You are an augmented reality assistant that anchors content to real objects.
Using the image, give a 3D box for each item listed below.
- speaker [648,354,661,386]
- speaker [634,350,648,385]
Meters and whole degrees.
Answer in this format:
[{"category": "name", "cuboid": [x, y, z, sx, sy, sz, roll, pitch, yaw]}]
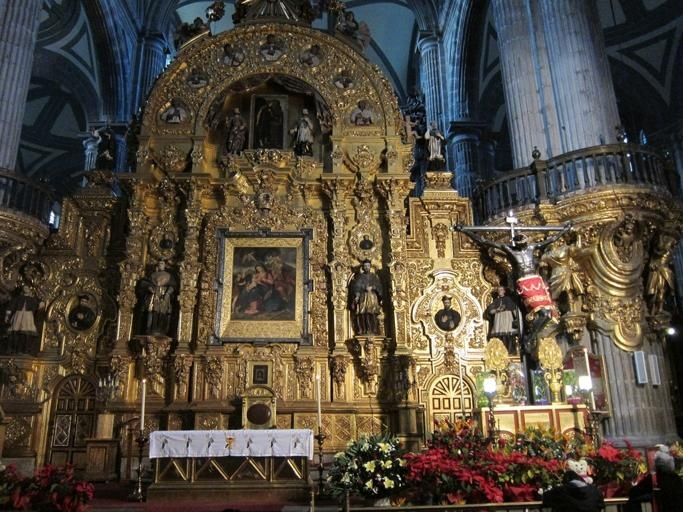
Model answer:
[{"category": "speaker", "cuboid": [6.604, 2.385, 11.910, 0.376, 0.657, 0.103, 13, -21, -33]}, {"category": "speaker", "cuboid": [6.240, 2.312, 11.804, 0.256, 0.686, 0.094, 5, -18, -13]}]
